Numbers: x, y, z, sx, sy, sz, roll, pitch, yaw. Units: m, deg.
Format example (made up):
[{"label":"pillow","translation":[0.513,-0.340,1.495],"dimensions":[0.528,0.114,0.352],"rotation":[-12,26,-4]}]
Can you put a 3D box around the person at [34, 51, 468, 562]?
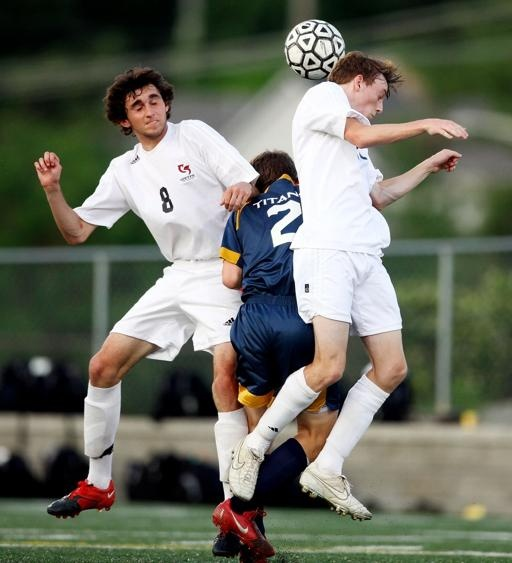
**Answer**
[{"label":"person","translation":[-0.539,0.062,6.133],"dimensions":[1.285,2.555,0.617],"rotation":[-1,2,22]}]

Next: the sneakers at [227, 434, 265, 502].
[{"label":"sneakers","translation":[-0.049,0.950,5.539],"dimensions":[0.119,0.325,0.156],"rotation":[29,-44,-33]}]

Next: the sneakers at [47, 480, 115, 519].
[{"label":"sneakers","translation":[-0.991,1.254,6.283],"dimensions":[0.503,0.207,0.167],"rotation":[-2,-3,-33]}]

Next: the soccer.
[{"label":"soccer","translation":[0.322,-1.300,6.036],"dimensions":[0.326,0.359,0.349],"rotation":[-1,2,3]}]
